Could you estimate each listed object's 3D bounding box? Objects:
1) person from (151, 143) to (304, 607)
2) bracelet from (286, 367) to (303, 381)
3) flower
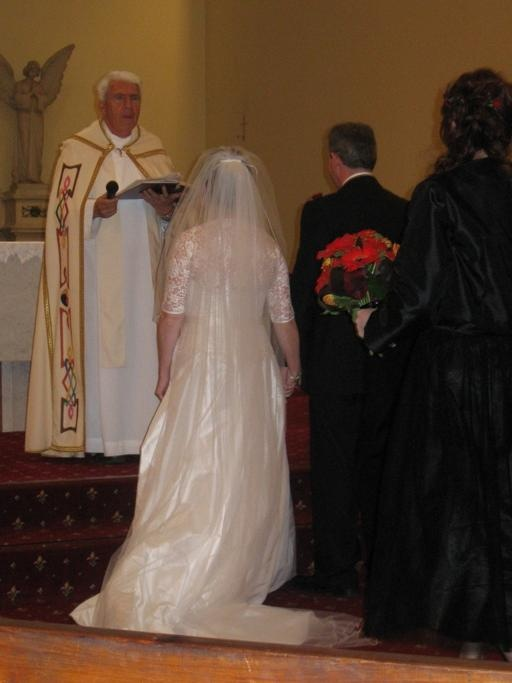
[{"bbox_3d":[-0.110,0.111,2.795,0.554,1.540,0.402,3,-5,-6],"label":"person"},{"bbox_3d":[0.135,0.126,3.025,0.041,0.053,0.056,2,24,-3],"label":"bracelet"},{"bbox_3d":[0.247,-0.158,2.237,0.268,0.218,0.231,-12,23,-2],"label":"flower"}]
